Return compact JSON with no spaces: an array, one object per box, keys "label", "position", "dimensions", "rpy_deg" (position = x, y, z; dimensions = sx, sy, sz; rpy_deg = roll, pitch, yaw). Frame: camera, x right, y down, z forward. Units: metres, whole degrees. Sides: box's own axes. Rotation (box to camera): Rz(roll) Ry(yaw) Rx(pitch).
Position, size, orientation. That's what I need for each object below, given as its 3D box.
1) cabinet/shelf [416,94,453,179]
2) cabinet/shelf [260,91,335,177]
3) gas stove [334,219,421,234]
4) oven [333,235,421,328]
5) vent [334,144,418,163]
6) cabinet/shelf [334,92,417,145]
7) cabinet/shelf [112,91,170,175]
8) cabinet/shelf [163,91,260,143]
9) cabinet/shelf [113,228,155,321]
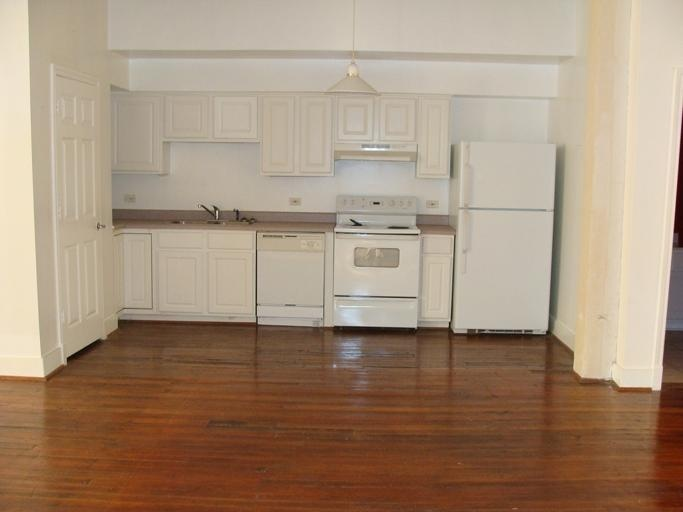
[{"label":"cabinet/shelf","position":[0.931,-1.217,6.486],"dimensions":[0.336,0.820,0.152],"rpy_deg":[2,15,5]},{"label":"cabinet/shelf","position":[-0.437,-1.284,6.502],"dimensions":[0.920,0.966,0.514],"rpy_deg":[0,2,-3]},{"label":"gas stove","position":[0.369,-0.305,6.536],"dimensions":[0.846,0.059,0.593],"rpy_deg":[2,14,4]},{"label":"oven","position":[0.355,0.242,6.739],"dimensions":[1.008,1.096,0.889],"rpy_deg":[0,1,1]},{"label":"vent","position":[0.351,-1.063,6.534],"dimensions":[0.850,0.179,0.166],"rpy_deg":[2,14,6]},{"label":"cabinet/shelf","position":[0.346,-1.379,6.688],"dimensions":[0.874,0.491,0.449],"rpy_deg":[0,0,-4]},{"label":"cabinet/shelf","position":[-2.112,-1.282,6.807],"dimensions":[0.622,0.843,0.592],"rpy_deg":[3,6,10]},{"label":"cabinet/shelf","position":[-1.324,-1.434,6.678],"dimensions":[1.093,0.488,0.352],"rpy_deg":[2,6,6]},{"label":"cabinet/shelf","position":[-2.076,0.171,6.454],"dimensions":[0.307,0.827,0.155],"rpy_deg":[2,15,3]}]
